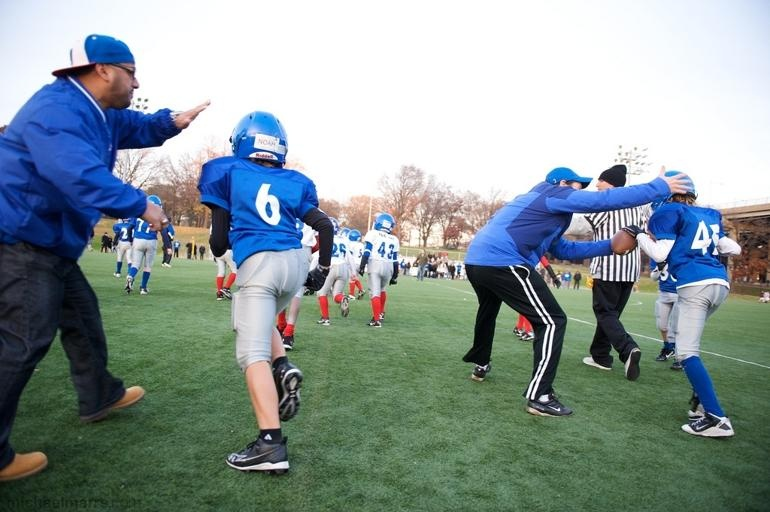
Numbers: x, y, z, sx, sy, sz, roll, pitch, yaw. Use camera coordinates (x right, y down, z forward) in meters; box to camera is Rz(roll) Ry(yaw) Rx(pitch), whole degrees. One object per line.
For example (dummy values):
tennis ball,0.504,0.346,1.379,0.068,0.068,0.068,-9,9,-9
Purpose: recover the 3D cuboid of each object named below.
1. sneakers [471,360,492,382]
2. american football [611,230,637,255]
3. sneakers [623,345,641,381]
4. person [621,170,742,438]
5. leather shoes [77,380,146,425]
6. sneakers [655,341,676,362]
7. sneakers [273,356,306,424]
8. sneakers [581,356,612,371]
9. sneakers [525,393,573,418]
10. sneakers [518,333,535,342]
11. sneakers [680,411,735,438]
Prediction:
sneakers,1.229,1.450,5.350,0.134,0.131,0.363,4,7,22
american football,2.694,-0.154,4.742,0.158,0.206,0.297,28,31,36
sneakers,3.371,1.452,5.748,0.191,0.464,0.195,1,2,7
person,3.250,0.482,4.504,1.090,2.535,0.953,5,6,10
leather shoes,-2.417,1.303,3.754,0.149,0.189,0.422,19,28,33
sneakers,4.939,1.635,7.253,0.665,0.269,0.213,0,3,-36
sneakers,-0.784,1.040,3.390,0.207,0.518,0.263,-1,3,-31
sneakers,3.186,1.604,6.337,0.145,0.152,0.376,-2,10,-34
sneakers,1.702,1.557,4.434,0.543,0.232,0.192,4,-3,2
sneakers,2.750,1.570,8.151,0.454,0.188,0.157,10,-11,-38
sneakers,3.214,1.694,4.298,0.574,0.240,0.202,-1,-9,15
